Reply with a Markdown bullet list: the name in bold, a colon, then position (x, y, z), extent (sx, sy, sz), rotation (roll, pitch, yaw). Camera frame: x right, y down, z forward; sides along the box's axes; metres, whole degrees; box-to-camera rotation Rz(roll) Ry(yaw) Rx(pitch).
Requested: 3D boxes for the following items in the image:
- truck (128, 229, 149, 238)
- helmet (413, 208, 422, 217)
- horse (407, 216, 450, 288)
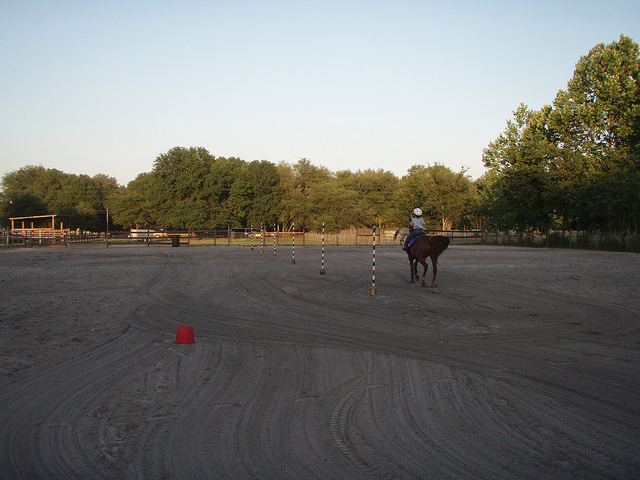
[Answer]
- **truck**: position (-21.043, -0.768, 61.963), extent (1.814, 0.603, 24.401), rotation (1, 1, -19)
- **helmet**: position (3.174, -0.926, 17.489), extent (0.302, 0.322, 0.096), rotation (2, -7, -15)
- **horse**: position (3.388, 0.414, 17.853), extent (0.709, 2.290, 3.089), rotation (2, -1, -10)
